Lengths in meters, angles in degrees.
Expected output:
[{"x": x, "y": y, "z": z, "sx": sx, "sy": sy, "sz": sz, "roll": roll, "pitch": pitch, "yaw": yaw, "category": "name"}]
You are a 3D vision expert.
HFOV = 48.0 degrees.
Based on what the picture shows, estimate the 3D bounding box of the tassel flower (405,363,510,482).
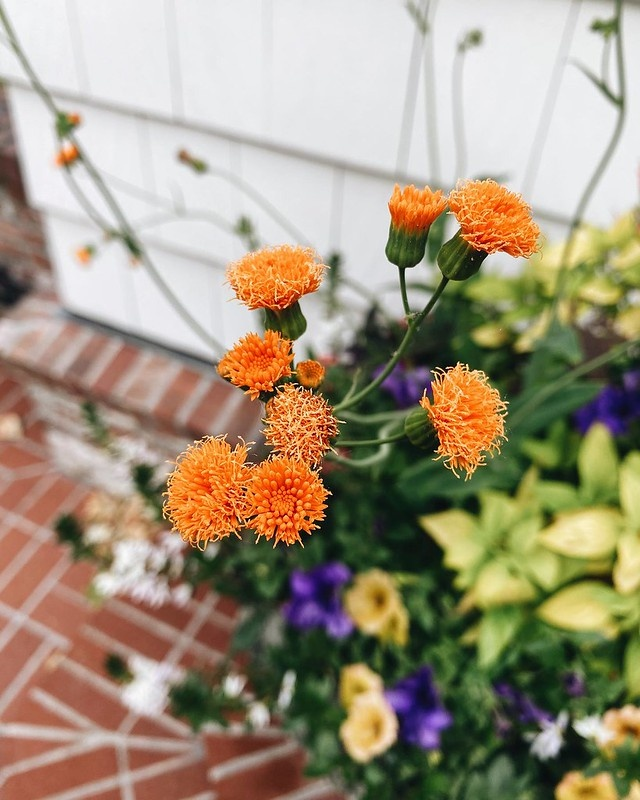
[{"x": 0.092, "y": 0.012, "z": 0.471, "sx": 0.054, "sy": 0.065, "sz": 0.060, "roll": 21, "pitch": 43, "yaw": 20, "category": "tassel flower"}]

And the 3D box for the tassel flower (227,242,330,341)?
[{"x": -0.029, "y": -0.074, "z": 0.505, "sx": 0.068, "sy": 0.066, "sz": 0.052, "roll": -13, "pitch": 43, "yaw": -18, "category": "tassel flower"}]

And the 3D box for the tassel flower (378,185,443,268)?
[{"x": 0.065, "y": -0.119, "z": 0.508, "sx": 0.052, "sy": 0.054, "sz": 0.045, "roll": 16, "pitch": 13, "yaw": 4, "category": "tassel flower"}]

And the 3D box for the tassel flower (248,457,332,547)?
[{"x": -0.022, "y": 0.066, "z": 0.430, "sx": 0.057, "sy": 0.048, "sz": 0.025, "roll": 20, "pitch": -6, "yaw": 0, "category": "tassel flower"}]

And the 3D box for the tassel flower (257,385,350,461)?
[{"x": -0.017, "y": 0.013, "z": 0.466, "sx": 0.053, "sy": 0.030, "sz": 0.051, "roll": 13, "pitch": 14, "yaw": 18, "category": "tassel flower"}]

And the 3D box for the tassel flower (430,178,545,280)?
[{"x": 0.121, "y": -0.123, "z": 0.515, "sx": 0.065, "sy": 0.082, "sz": 0.099, "roll": 8, "pitch": 39, "yaw": 7, "category": "tassel flower"}]
